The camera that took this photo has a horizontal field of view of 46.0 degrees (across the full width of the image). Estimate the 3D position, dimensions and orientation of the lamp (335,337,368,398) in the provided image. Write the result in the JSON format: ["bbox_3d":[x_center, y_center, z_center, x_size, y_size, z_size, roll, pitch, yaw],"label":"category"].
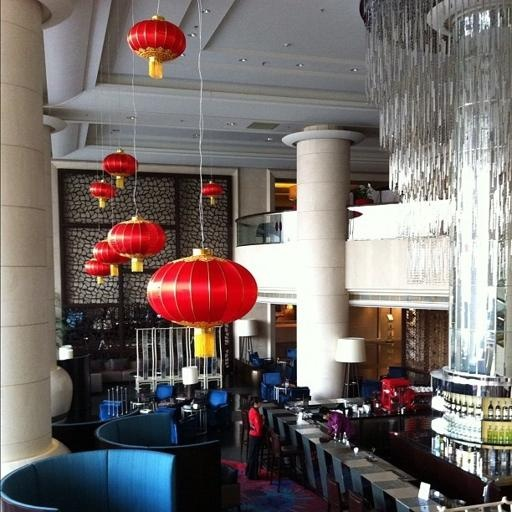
[{"bbox_3d":[2.040,2.440,12.637,0.587,1.320,0.528,7,-10,27],"label":"lamp"}]

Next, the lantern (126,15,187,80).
[{"bbox_3d":[-0.859,-1.805,5.264,0.484,0.485,0.474,3,2,21],"label":"lantern"}]

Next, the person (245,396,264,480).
[{"bbox_3d":[-0.026,2.871,9.469,0.275,1.107,0.558,0,-2,0],"label":"person"}]

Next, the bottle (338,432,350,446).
[{"bbox_3d":[1.246,2.617,8.627,0.109,0.160,0.165,-1,3,3],"label":"bottle"}]

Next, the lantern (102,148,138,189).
[{"bbox_3d":[-1.863,-1.177,8.194,0.449,0.497,0.451,0,-6,-9],"label":"lantern"}]

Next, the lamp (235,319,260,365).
[{"bbox_3d":[-0.267,2.370,17.217,0.773,1.098,0.776,-1,-2,31],"label":"lamp"}]

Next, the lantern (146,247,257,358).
[{"bbox_3d":[-0.357,0.322,4.158,0.762,0.724,0.760,-1,0,-9],"label":"lantern"}]

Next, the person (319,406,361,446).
[{"bbox_3d":[1.073,2.620,9.112,0.772,0.270,0.603,-2,-2,43],"label":"person"}]
